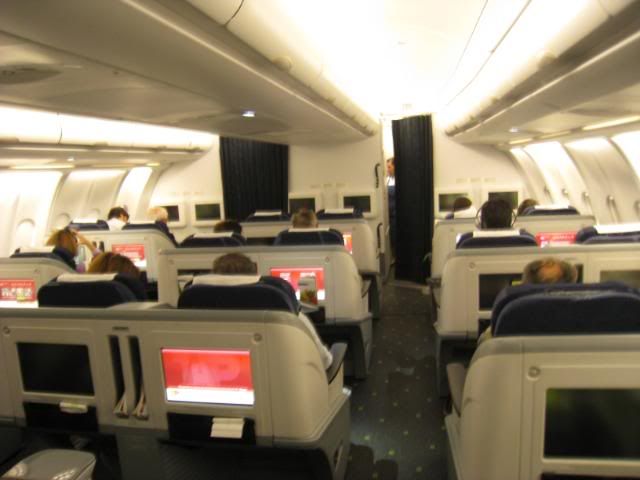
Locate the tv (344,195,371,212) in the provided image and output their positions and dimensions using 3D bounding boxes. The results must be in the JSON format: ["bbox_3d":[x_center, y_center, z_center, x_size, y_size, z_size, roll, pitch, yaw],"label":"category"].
[{"bbox_3d":[0.728,-0.664,9.769,0.616,0.323,0.411,4,-1,19],"label":"tv"}]

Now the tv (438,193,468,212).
[{"bbox_3d":[2.144,-0.631,8.547,0.440,0.300,0.047,3,0,4],"label":"tv"}]

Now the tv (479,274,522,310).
[{"bbox_3d":[1.405,0.392,4.219,0.352,0.381,0.096,3,28,7],"label":"tv"}]

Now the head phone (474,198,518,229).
[{"bbox_3d":[1.641,-0.196,4.986,0.296,0.342,0.360,2,11,1],"label":"head phone"}]
